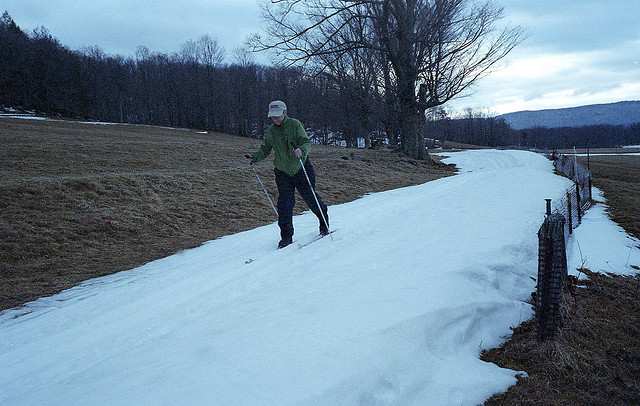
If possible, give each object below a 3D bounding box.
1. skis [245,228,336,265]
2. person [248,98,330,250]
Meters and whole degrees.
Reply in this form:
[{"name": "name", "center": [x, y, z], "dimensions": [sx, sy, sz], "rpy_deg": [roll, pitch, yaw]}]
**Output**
[{"name": "skis", "center": [-0.574, 0.926, 9.247], "dimensions": [1.412, 0.216, 0.148], "rpy_deg": [-25, 31, -35]}, {"name": "person", "center": [-0.615, -0.641, 9.505], "dimensions": [1.513, 3.077, 0.869], "rpy_deg": [-3, 11, 0]}]
